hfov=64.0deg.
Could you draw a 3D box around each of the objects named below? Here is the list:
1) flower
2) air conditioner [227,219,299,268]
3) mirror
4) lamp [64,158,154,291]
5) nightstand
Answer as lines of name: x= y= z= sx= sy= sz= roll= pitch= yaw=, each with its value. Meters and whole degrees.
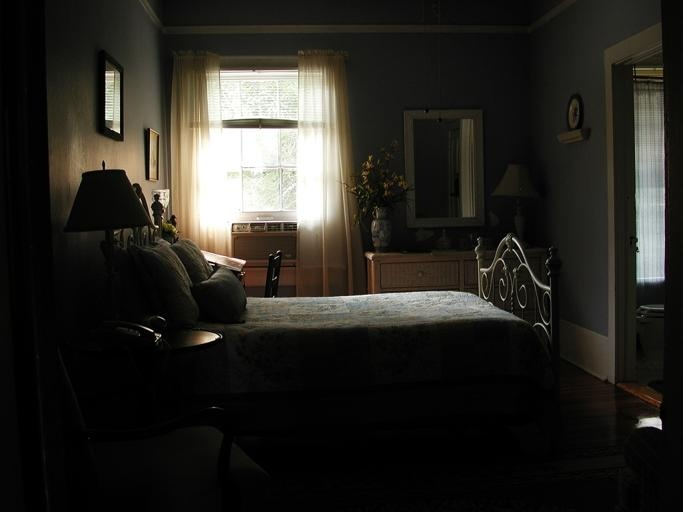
flower: x=0.351 y=-0.733 z=5.306 sx=0.626 sy=1.057 sz=0.706 roll=-1 pitch=11 yaw=-12
air conditioner: x=-0.760 y=-0.066 z=5.519 sx=0.673 sy=0.575 sz=0.273 roll=0 pitch=5 yaw=-10
mirror: x=1.005 y=-0.911 z=5.447 sx=0.966 sy=1.570 sz=0.071 roll=-1 pitch=1 yaw=-10
lamp: x=-1.182 y=-0.171 z=2.797 sx=0.453 sy=0.819 sz=0.487 roll=-2 pitch=10 yaw=-11
nightstand: x=-0.855 y=0.751 z=2.558 sx=0.758 sy=0.828 sz=0.905 roll=-3 pitch=5 yaw=-27
